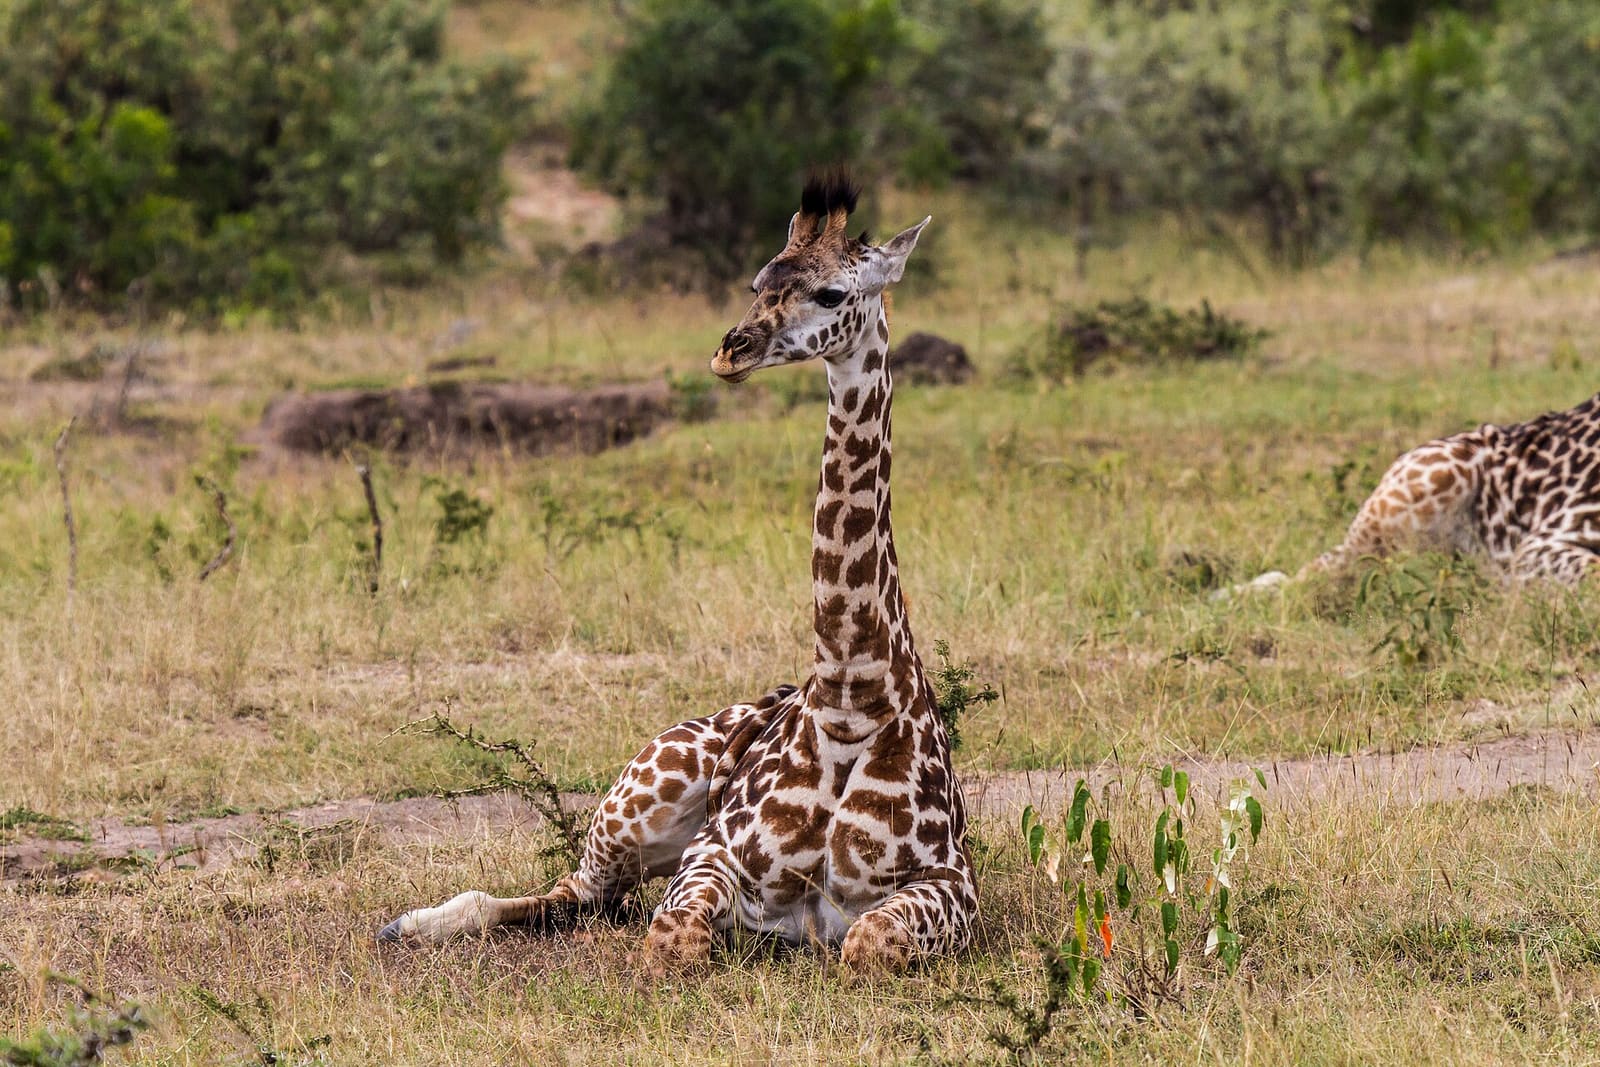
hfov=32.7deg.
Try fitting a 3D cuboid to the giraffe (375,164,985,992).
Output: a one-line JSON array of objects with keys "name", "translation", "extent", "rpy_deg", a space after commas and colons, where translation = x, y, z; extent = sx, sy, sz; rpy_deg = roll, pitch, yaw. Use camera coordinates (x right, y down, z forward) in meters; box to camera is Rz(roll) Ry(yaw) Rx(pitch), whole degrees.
[{"name": "giraffe", "translation": [-0.344, 0.164, 12.741], "extent": [2.570, 3.846, 2.685], "rpy_deg": [-4, 12, -20]}]
